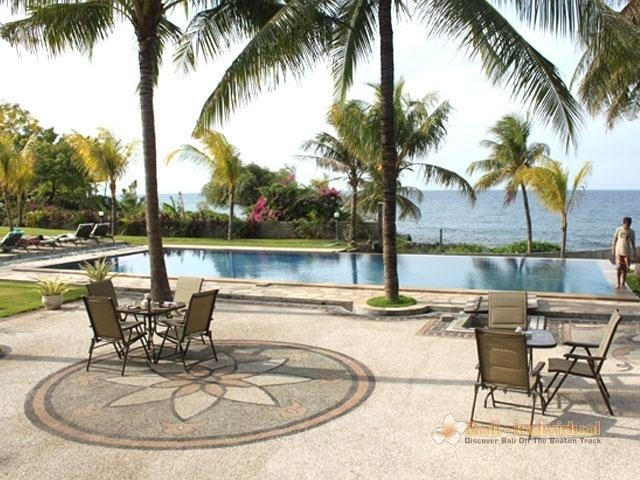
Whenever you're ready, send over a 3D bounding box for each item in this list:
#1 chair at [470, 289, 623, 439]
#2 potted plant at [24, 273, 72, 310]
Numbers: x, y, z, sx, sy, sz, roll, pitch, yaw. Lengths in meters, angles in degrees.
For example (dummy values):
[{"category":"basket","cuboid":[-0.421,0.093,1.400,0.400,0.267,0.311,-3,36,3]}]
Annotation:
[{"category":"chair","cuboid":[2.918,1.757,6.913,2.131,1.285,1.109,-3,9,-17]},{"category":"potted plant","cuboid":[-6.675,1.341,12.735,1.105,1.005,1.204,0,1,12]}]
